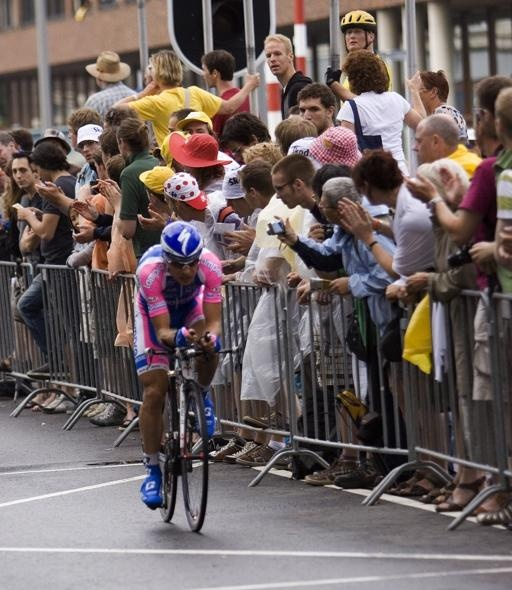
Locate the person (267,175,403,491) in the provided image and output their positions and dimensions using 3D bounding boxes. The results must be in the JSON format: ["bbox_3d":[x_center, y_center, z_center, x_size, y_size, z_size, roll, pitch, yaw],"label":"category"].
[{"bbox_3d":[0.503,0.176,8.226,1.025,1.848,0.765,9,-16,-9],"label":"person"}]

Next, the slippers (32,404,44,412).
[{"bbox_3d":[-1.957,1.005,12.370,0.062,0.043,0.092,-9,-8,3],"label":"slippers"}]

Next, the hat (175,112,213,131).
[{"bbox_3d":[-0.457,-1.318,10.555,0.150,0.089,0.205,-5,-7,14],"label":"hat"}]

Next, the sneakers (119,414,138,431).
[{"bbox_3d":[-1.007,1.000,10.913,0.139,0.087,0.368,-3,-6,-6],"label":"sneakers"}]

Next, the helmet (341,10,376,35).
[{"bbox_3d":[0.792,-2.122,10.926,0.266,0.197,0.376,-1,5,3],"label":"helmet"}]

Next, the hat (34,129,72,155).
[{"bbox_3d":[-2.007,-1.528,13.891,0.402,0.158,0.377,5,-34,-9],"label":"hat"}]

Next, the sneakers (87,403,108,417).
[{"bbox_3d":[-1.382,0.980,12.039,0.091,0.103,0.272,6,10,19],"label":"sneakers"}]

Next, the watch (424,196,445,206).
[{"bbox_3d":[0.958,-0.504,7.495,0.056,0.053,0.056,-43,11,-31],"label":"watch"}]

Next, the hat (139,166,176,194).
[{"bbox_3d":[-0.699,-0.823,9.869,0.180,0.126,0.249,-28,40,-26],"label":"hat"}]

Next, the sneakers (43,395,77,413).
[{"bbox_3d":[-1.757,0.975,12.295,0.121,0.147,0.353,-8,-18,39],"label":"sneakers"}]

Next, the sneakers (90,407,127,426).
[{"bbox_3d":[-1.280,0.999,11.506,0.395,0.166,0.129,1,-1,-28],"label":"sneakers"}]

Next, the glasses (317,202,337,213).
[{"bbox_3d":[0.419,-0.513,8.190,0.068,0.055,0.315,-2,5,-13],"label":"glasses"}]

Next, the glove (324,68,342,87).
[{"bbox_3d":[0.577,-1.649,10.498,0.124,0.153,0.059,-1,-5,12],"label":"glove"}]

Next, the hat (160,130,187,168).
[{"bbox_3d":[-0.676,-1.089,10.514,0.140,0.252,0.192,-10,2,45],"label":"hat"}]

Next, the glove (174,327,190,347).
[{"bbox_3d":[-0.419,0.226,7.566,0.087,0.102,0.104,2,24,-6],"label":"glove"}]

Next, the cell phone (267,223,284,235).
[{"bbox_3d":[0.108,-0.388,8.272,0.081,0.073,0.079,-13,2,35],"label":"cell phone"}]

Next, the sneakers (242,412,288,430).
[{"bbox_3d":[0.038,0.831,9.155,0.314,0.122,0.105,6,-6,25],"label":"sneakers"}]

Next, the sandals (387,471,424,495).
[{"bbox_3d":[0.848,1.121,8.262,0.271,0.166,0.090,2,-20,11],"label":"sandals"}]

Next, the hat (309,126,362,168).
[{"bbox_3d":[0.521,-0.974,9.180,0.367,0.276,0.180,-7,-31,-23],"label":"hat"}]

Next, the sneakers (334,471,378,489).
[{"bbox_3d":[0.629,1.137,8.607,0.289,0.105,0.099,4,-4,-9],"label":"sneakers"}]

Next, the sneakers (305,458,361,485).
[{"bbox_3d":[0.463,1.105,8.706,0.412,0.163,0.134,-4,-2,24],"label":"sneakers"}]

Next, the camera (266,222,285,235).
[{"bbox_3d":[0.109,-0.389,8.293,0.082,0.074,0.082,-3,7,-23],"label":"camera"}]

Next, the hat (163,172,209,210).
[{"bbox_3d":[-0.427,-0.682,8.895,0.218,0.157,0.306,-33,35,-28],"label":"hat"}]

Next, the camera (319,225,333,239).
[{"bbox_3d":[0.444,-0.394,8.768,0.062,0.085,0.089,16,19,6],"label":"camera"}]

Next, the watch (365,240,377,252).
[{"bbox_3d":[0.655,-0.283,7.957,0.056,0.041,0.063,-45,1,15],"label":"watch"}]

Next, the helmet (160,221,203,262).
[{"bbox_3d":[-0.413,-0.279,7.560,0.217,0.226,0.204,-2,5,-3],"label":"helmet"}]

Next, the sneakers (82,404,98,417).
[{"bbox_3d":[-1.434,0.996,12.050,0.076,0.086,0.211,2,-3,10],"label":"sneakers"}]

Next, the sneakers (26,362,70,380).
[{"bbox_3d":[-1.772,0.657,11.998,0.463,0.181,0.154,0,-5,31],"label":"sneakers"}]

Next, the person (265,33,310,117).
[{"bbox_3d":[0.251,-1.812,11.549,0.385,0.760,0.975,-1,5,1],"label":"person"}]

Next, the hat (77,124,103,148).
[{"bbox_3d":[-1.470,-1.389,12.147,0.205,0.142,0.279,-9,-5,1],"label":"hat"}]

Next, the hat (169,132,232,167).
[{"bbox_3d":[-0.427,-1.059,9.870,0.343,0.116,0.268,21,25,14],"label":"hat"}]

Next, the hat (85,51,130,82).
[{"bbox_3d":[-1.596,-2.317,14.438,0.387,0.158,0.425,-21,51,-37],"label":"hat"}]

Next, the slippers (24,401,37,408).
[{"bbox_3d":[-2.050,1.001,12.628,0.082,0.050,0.205,-14,0,-20],"label":"slippers"}]

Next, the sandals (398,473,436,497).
[{"bbox_3d":[0.911,1.119,8.228,0.284,0.109,0.094,-3,-7,8],"label":"sandals"}]

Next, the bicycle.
[{"bbox_3d":[-0.412,0.792,7.601,0.255,1.038,0.800,-2,5,-4],"label":"bicycle"}]

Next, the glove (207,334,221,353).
[{"bbox_3d":[-0.238,0.274,7.638,0.049,0.035,0.130,-27,-43,11],"label":"glove"}]
